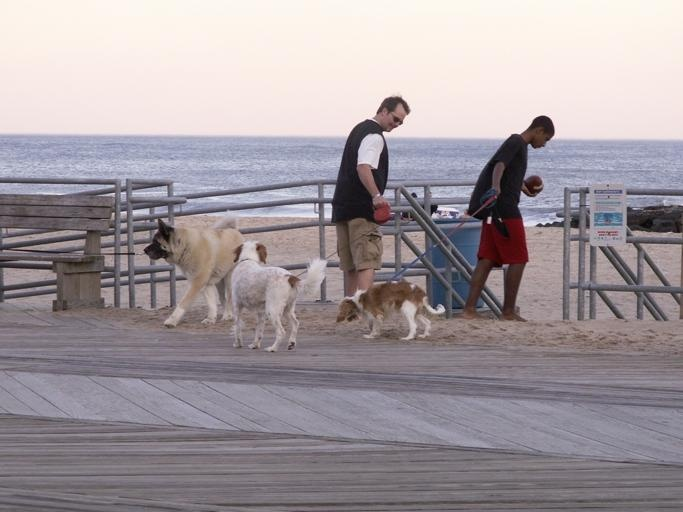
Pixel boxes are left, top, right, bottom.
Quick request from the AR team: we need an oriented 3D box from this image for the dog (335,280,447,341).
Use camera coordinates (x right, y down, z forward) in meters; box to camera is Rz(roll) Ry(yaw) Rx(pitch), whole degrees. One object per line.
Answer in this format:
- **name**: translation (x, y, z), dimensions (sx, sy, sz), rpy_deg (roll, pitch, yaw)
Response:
- **dog**: translation (0.359, 0.385, 10.303), dimensions (0.782, 0.433, 0.666), rpy_deg (0, 3, -1)

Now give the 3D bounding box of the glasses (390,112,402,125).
- **glasses**: translation (0.431, -1.054, 10.432), dimensions (0.086, 0.093, 0.185), rpy_deg (0, 3, 4)

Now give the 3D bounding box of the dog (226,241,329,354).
- **dog**: translation (-0.502, 0.281, 9.788), dimensions (0.494, 0.747, 0.700), rpy_deg (-2, 4, -33)

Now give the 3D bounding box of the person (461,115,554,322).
- **person**: translation (1.370, -0.310, 11.063), dimensions (0.706, 1.653, 0.477), rpy_deg (-1, 3, -10)
